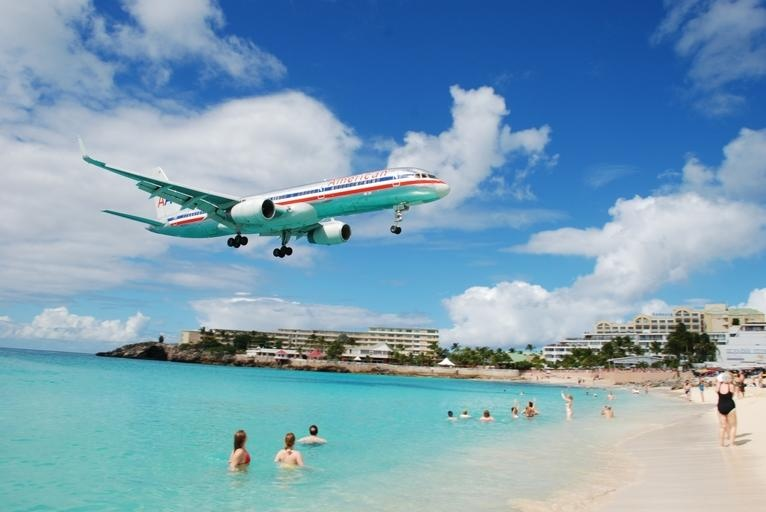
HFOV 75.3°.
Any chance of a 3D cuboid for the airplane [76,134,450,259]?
[{"bbox_3d":[-7.040,-2.904,37.588,24.404,5.082,8.666,-1,-14,9],"label":"airplane"}]
